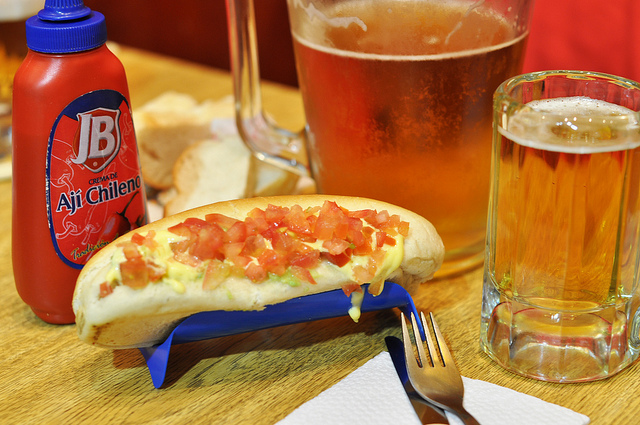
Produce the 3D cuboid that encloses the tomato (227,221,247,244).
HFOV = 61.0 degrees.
[{"bbox_3d":[-0.089,0.021,0.585,0.020,0.014,0.023,-7,31,-8],"label":"tomato"}]

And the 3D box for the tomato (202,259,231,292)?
[{"bbox_3d":[-0.108,0.067,0.569,0.022,0.026,0.028,9,32,19],"label":"tomato"}]

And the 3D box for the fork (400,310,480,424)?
[{"bbox_3d":[0.115,0.168,0.581,0.032,0.022,0.158,-3,38,-20],"label":"fork"}]

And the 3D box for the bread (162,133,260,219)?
[{"bbox_3d":[-0.183,-0.056,0.935,0.154,0.037,0.160,8,52,-3],"label":"bread"}]

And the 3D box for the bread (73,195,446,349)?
[{"bbox_3d":[-0.057,0.080,0.654,0.392,0.111,0.190,-12,3,-11],"label":"bread"}]

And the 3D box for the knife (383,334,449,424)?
[{"bbox_3d":[0.099,0.182,0.565,0.022,0.018,0.125,-10,46,-9],"label":"knife"}]

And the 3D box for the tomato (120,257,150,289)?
[{"bbox_3d":[-0.190,0.063,0.561,0.027,0.026,0.021,-14,32,-19],"label":"tomato"}]

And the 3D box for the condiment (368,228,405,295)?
[{"bbox_3d":[0.079,0.060,0.602,0.014,0.038,0.062,13,52,45],"label":"condiment"}]

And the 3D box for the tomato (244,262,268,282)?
[{"bbox_3d":[-0.067,0.064,0.573,0.021,0.018,0.013,14,34,26],"label":"tomato"}]
